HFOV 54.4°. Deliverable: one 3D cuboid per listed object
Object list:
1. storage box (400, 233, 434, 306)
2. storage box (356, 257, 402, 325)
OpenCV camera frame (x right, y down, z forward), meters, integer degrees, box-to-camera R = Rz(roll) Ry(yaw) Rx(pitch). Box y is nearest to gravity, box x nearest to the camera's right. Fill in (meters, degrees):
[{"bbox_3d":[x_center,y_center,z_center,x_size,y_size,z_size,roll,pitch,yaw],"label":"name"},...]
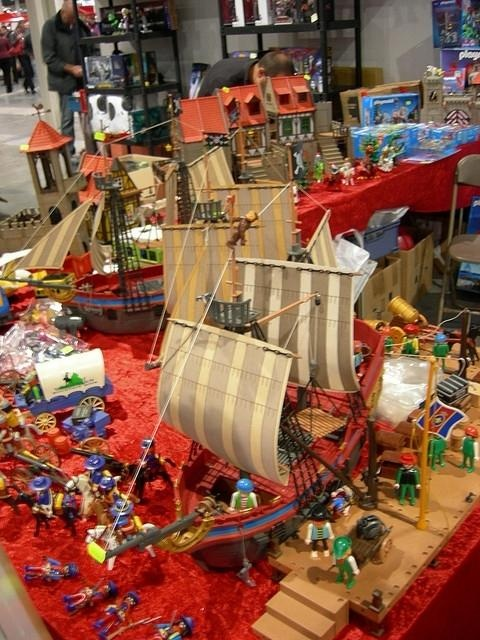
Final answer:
[{"bbox_3d":[1.966,-0.560,5.239,0.395,0.501,0.725,20,51,33],"label":"storage box"},{"bbox_3d":[1.323,-0.267,4.498,0.285,0.463,0.498,29,63,35],"label":"storage box"}]
